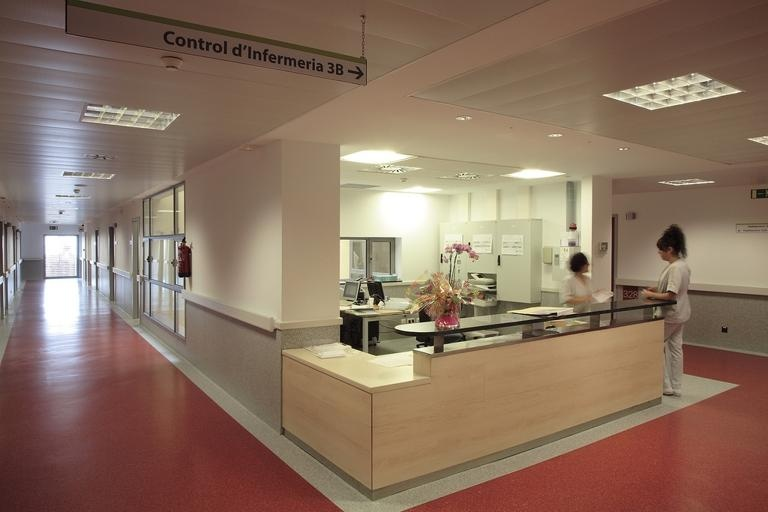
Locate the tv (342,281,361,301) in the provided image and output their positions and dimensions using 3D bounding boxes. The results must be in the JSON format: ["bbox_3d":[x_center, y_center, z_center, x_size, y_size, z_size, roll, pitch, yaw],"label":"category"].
[{"bbox_3d":[-0.587,0.654,9.027,0.255,0.412,0.451,2,0,-32],"label":"tv"}]

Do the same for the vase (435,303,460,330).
[{"bbox_3d":[0.683,0.656,5.090,0.245,0.256,0.243,-2,-7,20],"label":"vase"}]

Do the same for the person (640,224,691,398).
[{"bbox_3d":[4.157,0.788,7.092,0.505,2.452,0.986,4,9,33],"label":"person"}]

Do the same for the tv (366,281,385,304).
[{"bbox_3d":[-0.160,0.694,9.030,0.039,0.337,0.379,-12,20,-30],"label":"tv"}]

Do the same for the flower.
[{"bbox_3d":[0.685,0.314,5.411,0.770,0.892,0.713,-2,3,-9],"label":"flower"}]

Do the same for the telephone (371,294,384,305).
[{"bbox_3d":[-0.088,0.811,8.974,0.235,0.211,0.158,-2,-2,22],"label":"telephone"}]

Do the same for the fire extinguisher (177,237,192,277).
[{"bbox_3d":[-3.579,0.050,8.732,0.197,0.710,0.342,-5,8,-31],"label":"fire extinguisher"}]
